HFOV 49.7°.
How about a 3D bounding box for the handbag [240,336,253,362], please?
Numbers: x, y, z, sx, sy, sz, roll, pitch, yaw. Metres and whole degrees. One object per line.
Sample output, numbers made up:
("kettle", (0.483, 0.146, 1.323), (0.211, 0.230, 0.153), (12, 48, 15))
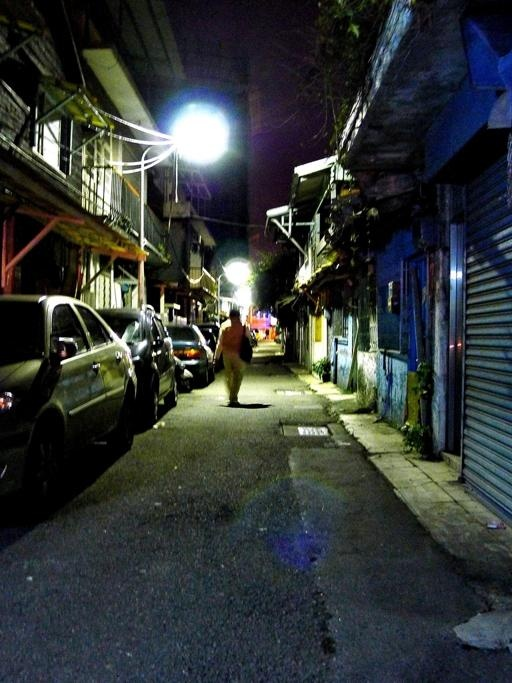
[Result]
("handbag", (-0.204, 0.121, 10.980), (0.216, 0.529, 0.384), (1, 1, -2))

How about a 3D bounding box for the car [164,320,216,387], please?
("car", (-1.659, 0.218, 15.417), (0.683, 1.173, 2.519), (0, 7, 4))

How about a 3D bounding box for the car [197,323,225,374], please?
("car", (-1.850, 0.309, 22.159), (0.870, 1.394, 2.828), (0, 7, 4))

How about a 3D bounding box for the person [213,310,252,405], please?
("person", (-0.451, 0.276, 11.169), (0.707, 1.913, 1.094), (1, 1, -6))

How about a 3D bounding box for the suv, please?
("suv", (-1.842, 0.241, 8.853), (0.719, 1.363, 2.066), (0, -6, 4))
